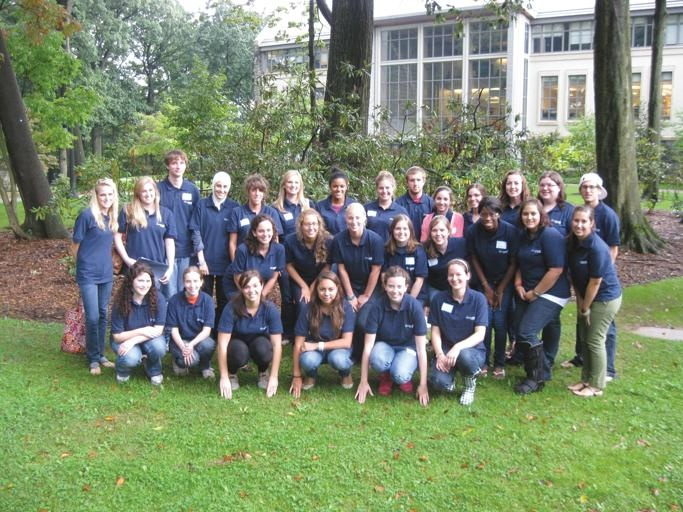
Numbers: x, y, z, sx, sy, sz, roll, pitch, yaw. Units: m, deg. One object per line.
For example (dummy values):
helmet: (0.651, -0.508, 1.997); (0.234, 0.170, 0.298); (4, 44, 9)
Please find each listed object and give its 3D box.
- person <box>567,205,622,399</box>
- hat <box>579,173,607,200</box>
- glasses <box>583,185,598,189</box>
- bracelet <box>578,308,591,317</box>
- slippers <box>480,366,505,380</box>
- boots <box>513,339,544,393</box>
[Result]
person: (3.061, 0.536, 7.622); (0.628, 2.310, 0.455); (2, 9, 23)
hat: (3.297, -0.908, 8.211); (0.312, 0.346, 0.459); (2, 10, 21)
glasses: (3.203, -0.897, 8.039); (0.198, 0.079, 0.065); (-3, 9, -7)
bracelet: (2.976, 0.683, 7.611); (0.094, 0.076, 0.097); (3, 8, 18)
slippers: (1.999, 1.516, 8.223); (0.315, 0.110, 0.329); (1, 10, 17)
boots: (2.334, 1.360, 7.810); (0.443, 0.665, 0.321); (-10, 11, -34)
